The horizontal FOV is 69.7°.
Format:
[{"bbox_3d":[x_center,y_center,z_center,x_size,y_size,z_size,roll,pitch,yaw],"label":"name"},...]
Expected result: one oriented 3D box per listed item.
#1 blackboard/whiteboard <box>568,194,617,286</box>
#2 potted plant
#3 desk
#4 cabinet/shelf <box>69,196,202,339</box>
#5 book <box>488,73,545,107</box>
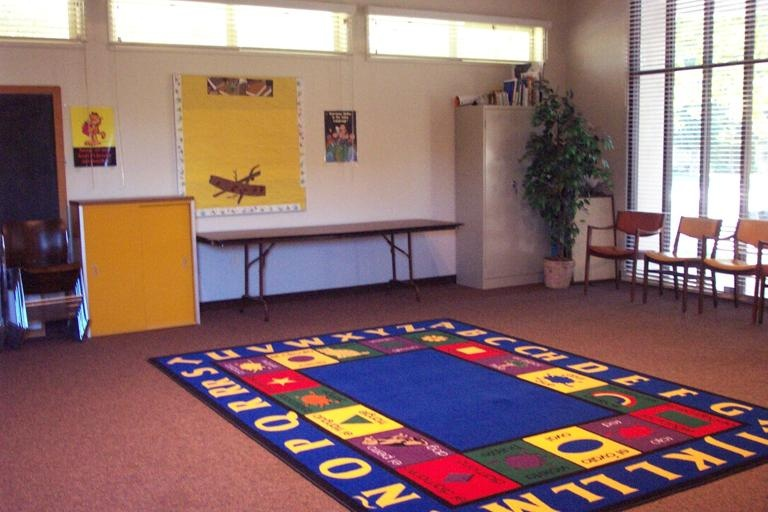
[{"bbox_3d":[3.104,-0.143,7.852,0.669,0.919,0.705,14,16,43],"label":"blackboard/whiteboard"},{"bbox_3d":[2.563,-1.023,7.881,1.187,2.872,1.129,4,13,20],"label":"potted plant"},{"bbox_3d":[-0.778,0.120,7.173,3.043,1.044,0.953,-6,13,-22],"label":"desk"},{"bbox_3d":[-2.797,0.135,6.098,1.419,1.667,0.634,-4,7,-27],"label":"cabinet/shelf"},{"bbox_3d":[1.939,-2.345,7.960,0.512,0.230,0.674,-3,4,-23],"label":"book"}]
